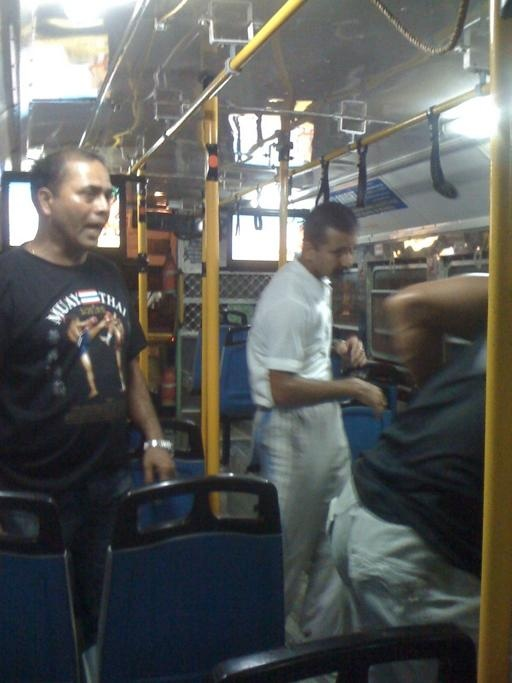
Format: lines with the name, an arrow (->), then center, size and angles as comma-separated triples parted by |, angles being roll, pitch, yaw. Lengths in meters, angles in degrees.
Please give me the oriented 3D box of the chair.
chair -> -0.190, 0.369, 1.647 | 0.889, 0.809, 0.570 | -2, 7, -11
